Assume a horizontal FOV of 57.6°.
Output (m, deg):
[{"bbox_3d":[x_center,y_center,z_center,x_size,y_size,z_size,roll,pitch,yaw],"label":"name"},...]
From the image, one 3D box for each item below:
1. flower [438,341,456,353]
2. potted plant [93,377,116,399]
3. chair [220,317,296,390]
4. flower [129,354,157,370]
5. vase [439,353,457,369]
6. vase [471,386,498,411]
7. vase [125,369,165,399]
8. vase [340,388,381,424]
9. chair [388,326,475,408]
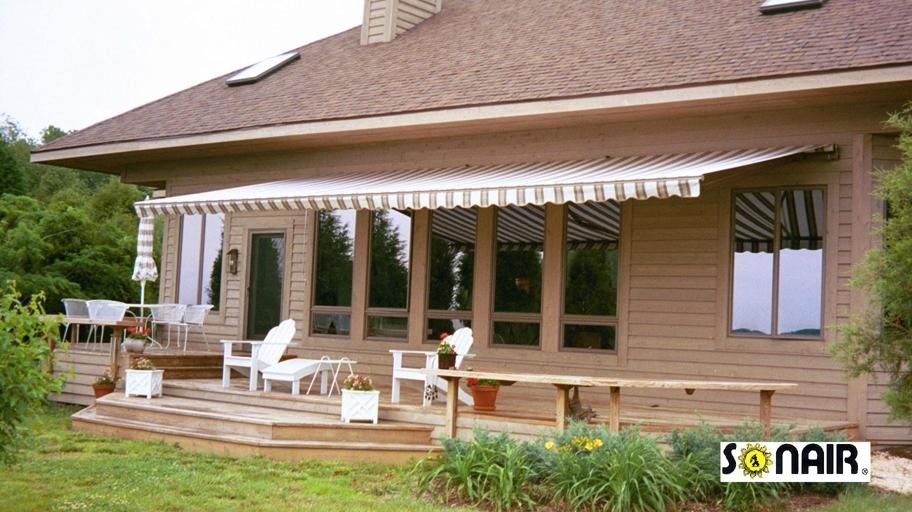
[{"bbox_3d":[-0.242,2.330,21.286,0.339,0.167,0.322,4,-3,-20],"label":"flower"},{"bbox_3d":[-10.192,3.803,23.866,0.624,0.531,0.588,1,-6,-9],"label":"potted plant"},{"bbox_3d":[-5.776,2.799,23.613,1.741,1.989,2.752,7,-11,-25],"label":"chair"},{"bbox_3d":[-8.796,2.999,23.296,0.625,0.264,0.554,1,-1,7],"label":"flower"},{"bbox_3d":[-0.221,2.663,21.145,0.413,0.269,0.390,1,-4,0],"label":"vase"},{"bbox_3d":[0.706,3.556,20.869,0.699,0.493,0.661,0,-5,-2],"label":"vase"},{"bbox_3d":[-8.645,3.482,23.079,0.895,0.727,0.871,-1,-2,22],"label":"vase"},{"bbox_3d":[-2.476,3.744,20.893,0.923,0.792,0.876,3,-6,-24],"label":"vase"},{"bbox_3d":[-0.912,2.920,21.999,1.909,2.088,2.362,-4,-6,43],"label":"chair"}]
